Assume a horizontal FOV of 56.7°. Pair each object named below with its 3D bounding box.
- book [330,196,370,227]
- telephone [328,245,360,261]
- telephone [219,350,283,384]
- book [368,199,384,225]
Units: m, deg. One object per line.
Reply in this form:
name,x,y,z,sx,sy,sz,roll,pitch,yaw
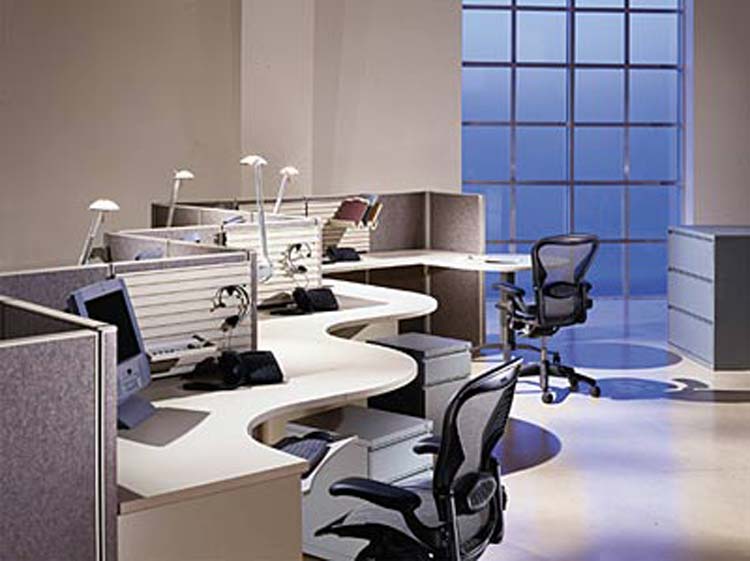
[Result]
book,-0.217,-0.591,5.969,0.269,0.271,0.075,9,-26,38
telephone,-0.272,-0.226,5.740,0.210,0.077,0.131,0,3,-41
telephone,-0.512,0.362,2.874,0.171,0.100,0.166,-1,3,-4
book,0.000,-0.591,6.052,0.053,0.200,0.221,7,9,9
